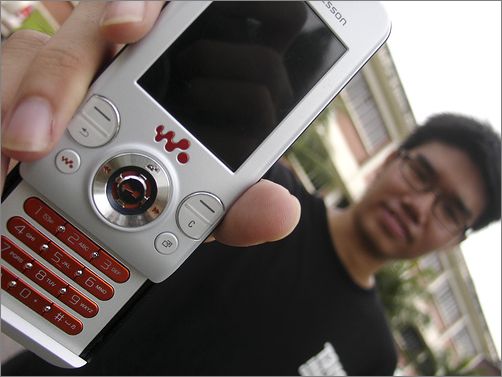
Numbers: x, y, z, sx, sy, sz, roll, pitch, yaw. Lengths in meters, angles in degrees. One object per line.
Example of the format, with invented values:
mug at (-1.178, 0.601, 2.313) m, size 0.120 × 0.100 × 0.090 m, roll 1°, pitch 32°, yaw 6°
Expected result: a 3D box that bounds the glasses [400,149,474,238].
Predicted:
glasses at (0.540, 0.019, 1.310) m, size 0.182 × 0.056 × 0.237 m, roll 55°, pitch 19°, yaw -10°
